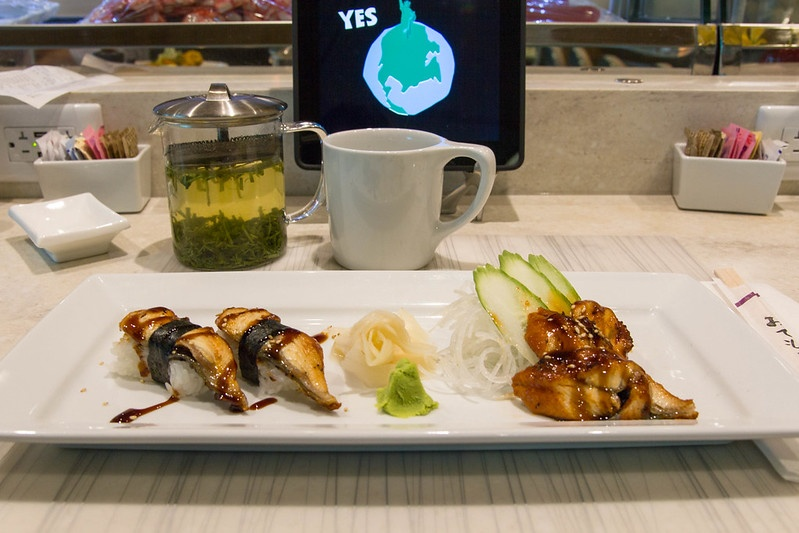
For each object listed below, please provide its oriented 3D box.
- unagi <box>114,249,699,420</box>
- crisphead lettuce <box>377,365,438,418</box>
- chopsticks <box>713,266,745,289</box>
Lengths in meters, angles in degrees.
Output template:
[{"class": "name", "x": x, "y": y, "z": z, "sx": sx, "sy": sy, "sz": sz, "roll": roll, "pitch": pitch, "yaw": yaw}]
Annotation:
[{"class": "unagi", "x": 0.003, "y": 0.107, "z": 0.830, "sx": 0.684, "sy": 0.090, "sz": 0.301, "roll": -2, "pitch": 25, "yaw": 1}, {"class": "crisphead lettuce", "x": 0.007, "y": 0.168, "z": 0.804, "sx": 0.094, "sy": 0.055, "sz": 0.131, "roll": 1, "pitch": 15, "yaw": -2}, {"class": "chopsticks", "x": 0.581, "y": 0.020, "z": 1.001, "sx": 0.031, "sy": 0.010, "sz": 0.044, "roll": -4, "pitch": 33, "yaw": -2}]
